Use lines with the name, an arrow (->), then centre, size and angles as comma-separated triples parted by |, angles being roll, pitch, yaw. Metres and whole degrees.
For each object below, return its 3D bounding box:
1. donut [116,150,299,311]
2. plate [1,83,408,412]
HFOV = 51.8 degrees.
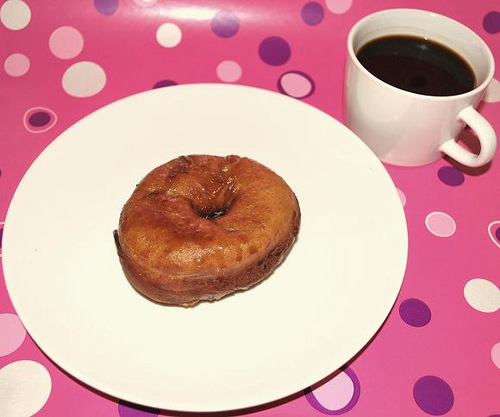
donut -> -0.079, 0.034, 0.955 | 0.337, 0.087, 0.313 | 6, 71, -3
plate -> -0.078, 0.029, 0.938 | 0.713, 0.130, 0.635 | 10, 71, -2
